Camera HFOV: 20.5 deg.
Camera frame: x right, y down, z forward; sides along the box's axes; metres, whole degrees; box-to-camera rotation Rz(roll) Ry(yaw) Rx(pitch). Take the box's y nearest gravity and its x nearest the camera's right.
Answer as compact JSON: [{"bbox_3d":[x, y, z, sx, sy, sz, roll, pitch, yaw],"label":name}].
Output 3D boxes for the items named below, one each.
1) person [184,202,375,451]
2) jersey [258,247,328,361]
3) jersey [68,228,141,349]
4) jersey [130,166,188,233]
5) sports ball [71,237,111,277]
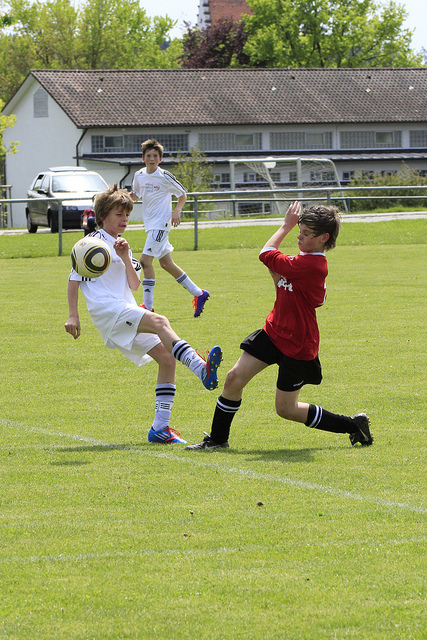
[{"bbox_3d":[0.401,0.060,6.721,1.037,1.415,0.528,3,3,2],"label":"person"},{"bbox_3d":[0.432,-0.089,6.590,0.378,0.620,0.281,3,3,3],"label":"jersey"},{"bbox_3d":[-0.632,-0.133,6.964,0.405,0.597,0.335,2,3,-16],"label":"jersey"},{"bbox_3d":[-0.575,-1.211,11.887,0.453,0.667,0.499,4,3,12],"label":"jersey"},{"bbox_3d":[-0.703,-0.355,6.855,0.224,0.213,0.139,3,3,-6],"label":"sports ball"}]
